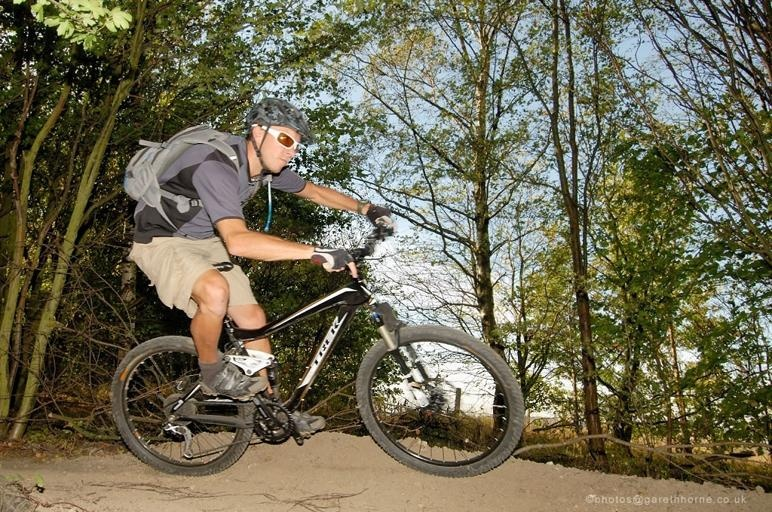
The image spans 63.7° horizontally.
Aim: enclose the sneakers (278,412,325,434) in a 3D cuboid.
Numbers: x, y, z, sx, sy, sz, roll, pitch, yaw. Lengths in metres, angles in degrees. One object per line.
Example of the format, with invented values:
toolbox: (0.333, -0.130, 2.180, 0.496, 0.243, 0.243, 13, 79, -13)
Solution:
sneakers: (-1.024, 1.934, 7.211, 0.653, 0.267, 0.218, -8, -11, 28)
